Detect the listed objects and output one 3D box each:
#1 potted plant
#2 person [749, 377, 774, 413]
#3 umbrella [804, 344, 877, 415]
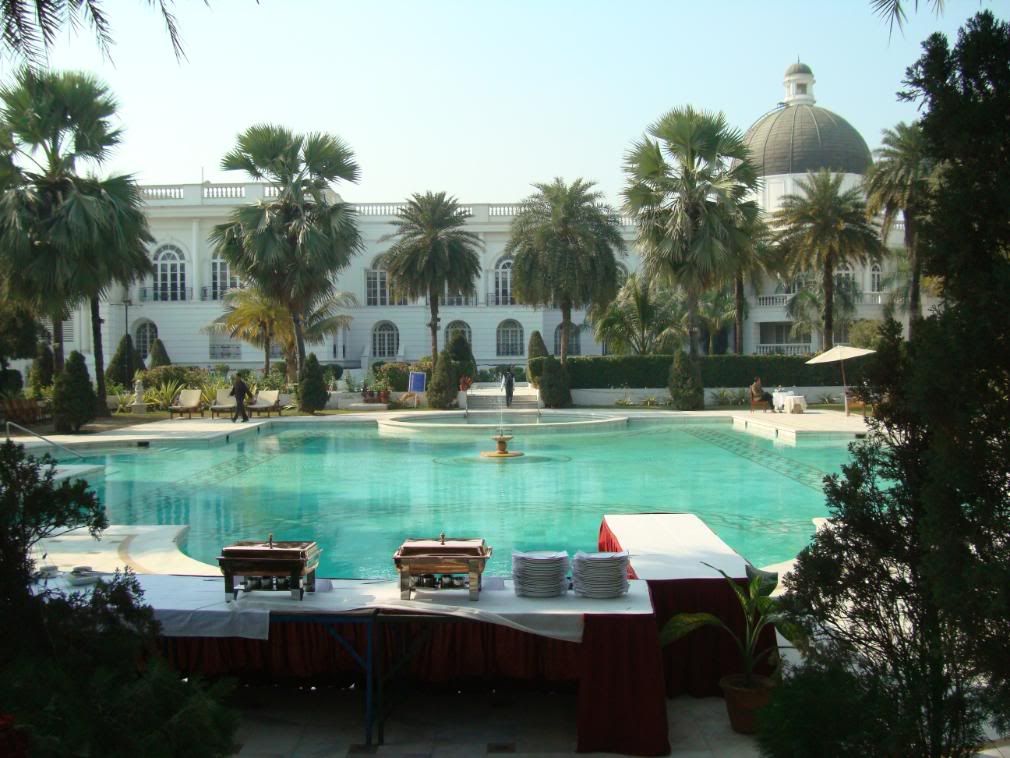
[{"bbox_3d":[1.669,1.941,6.888,0.941,1.189,0.683,3,-4,24],"label":"potted plant"},{"bbox_3d":[8.383,0.555,31.242,0.761,1.483,0.660,-4,7,40],"label":"person"},{"bbox_3d":[8.278,0.058,24.045,1.442,1.620,1.659,-9,1,24],"label":"umbrella"}]
